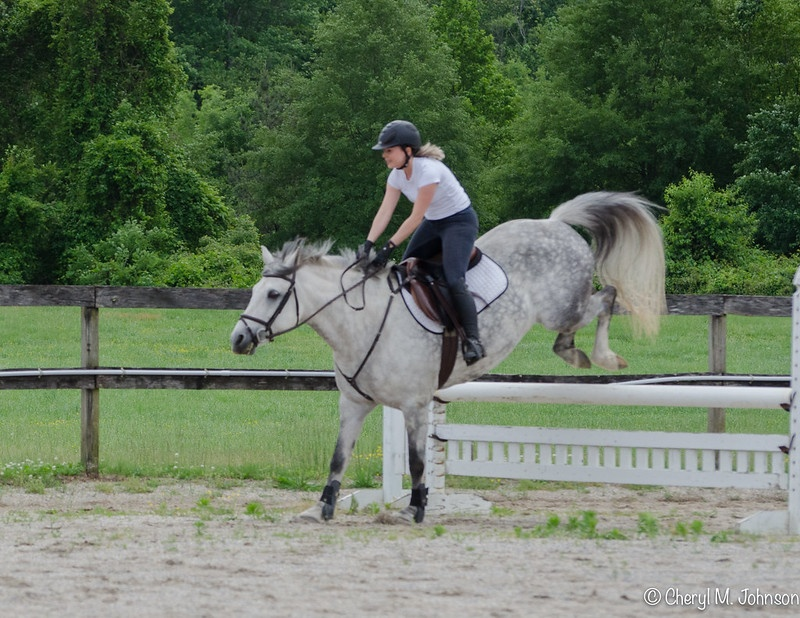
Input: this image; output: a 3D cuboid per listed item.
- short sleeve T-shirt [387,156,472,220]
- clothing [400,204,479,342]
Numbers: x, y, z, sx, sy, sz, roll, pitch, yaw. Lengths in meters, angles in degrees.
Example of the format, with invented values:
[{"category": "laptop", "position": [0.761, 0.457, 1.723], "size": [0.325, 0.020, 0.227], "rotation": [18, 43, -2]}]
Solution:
[{"category": "short sleeve T-shirt", "position": [0.749, -2.452, 36.581], "size": [1.015, 1.366, 1.463], "rotation": [-13, -2, -23]}, {"category": "clothing", "position": [1.023, -0.851, 36.216], "size": [1.646, 2.512, 0.807], "rotation": [10, 18, 31]}]
